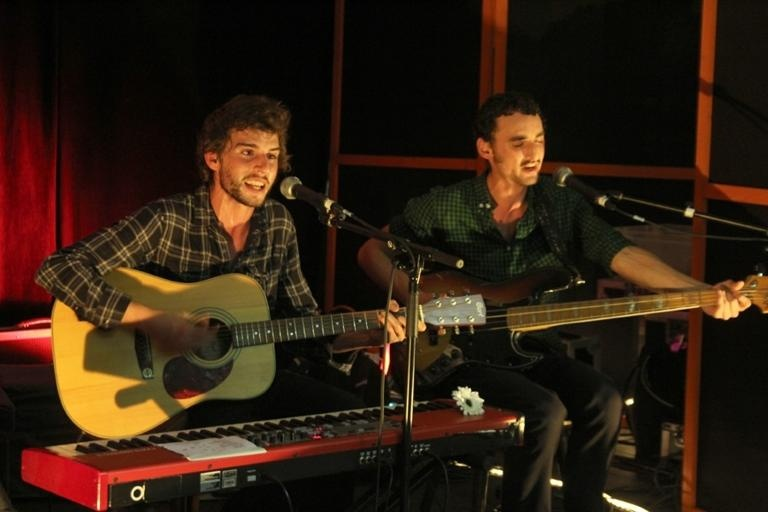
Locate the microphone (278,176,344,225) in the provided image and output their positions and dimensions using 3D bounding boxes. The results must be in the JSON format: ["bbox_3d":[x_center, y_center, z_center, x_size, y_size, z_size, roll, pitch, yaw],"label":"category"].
[{"bbox_3d":[-0.373,-0.260,3.807,0.449,0.152,0.139,30,13,37],"label":"microphone"}]

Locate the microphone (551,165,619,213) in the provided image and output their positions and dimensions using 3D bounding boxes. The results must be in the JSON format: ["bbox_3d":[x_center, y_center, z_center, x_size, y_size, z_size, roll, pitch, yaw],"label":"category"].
[{"bbox_3d":[0.992,-0.384,4.127,0.138,0.139,0.503,-40,37,-5],"label":"microphone"}]
